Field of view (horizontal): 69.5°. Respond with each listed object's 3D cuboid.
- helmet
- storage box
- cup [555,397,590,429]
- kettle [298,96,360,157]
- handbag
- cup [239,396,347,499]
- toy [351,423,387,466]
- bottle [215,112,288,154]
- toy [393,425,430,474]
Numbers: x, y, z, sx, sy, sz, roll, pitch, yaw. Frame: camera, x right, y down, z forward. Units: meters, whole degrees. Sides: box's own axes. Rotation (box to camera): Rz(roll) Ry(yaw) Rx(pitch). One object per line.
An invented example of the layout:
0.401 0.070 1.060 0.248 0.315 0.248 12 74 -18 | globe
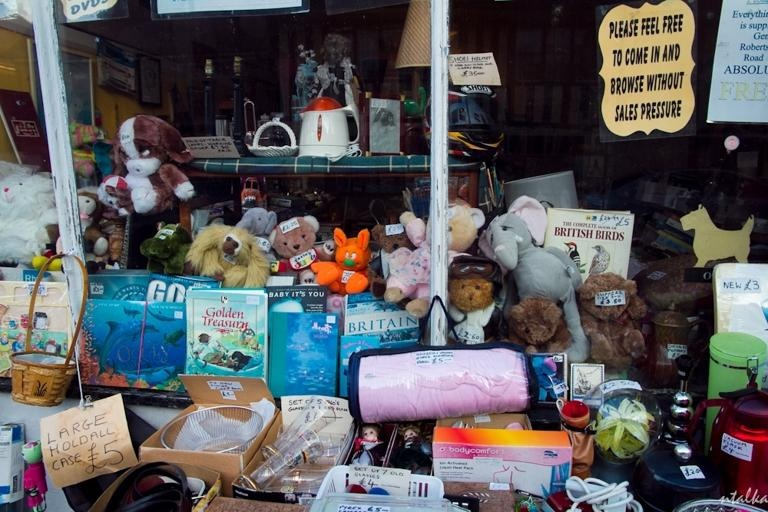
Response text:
0.436 -0.618 2.594 0.350 0.348 0.109 -11 12 -43 | helmet
-0.674 0.622 2.258 0.452 0.247 0.488 -4 -7 20 | storage box
0.726 0.601 2.159 0.080 0.112 0.115 -13 19 -3 | cup
-0.261 -0.622 2.719 0.306 0.285 0.237 0 10 2 | kettle
0.225 0.364 2.218 0.742 0.542 0.280 -4 33 2 | handbag
-0.344 0.781 2.248 0.330 0.338 0.209 -1 -34 21 | cup
-0.067 0.784 2.203 0.134 0.091 0.236 0 24 1 | toy
-0.608 -0.581 2.703 0.277 0.195 0.128 1 0 7 | bottle
0.111 0.765 2.216 0.156 0.141 0.161 -2 9 5 | toy
